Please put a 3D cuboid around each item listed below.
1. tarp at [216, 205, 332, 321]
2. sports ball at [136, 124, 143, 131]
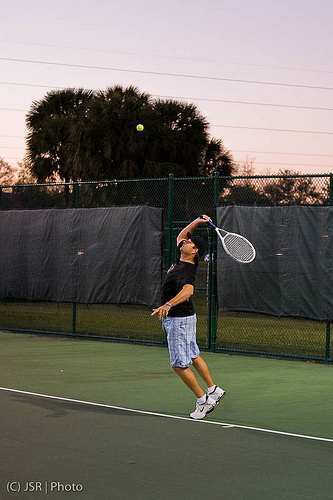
[{"bbox_3d":[2.080,0.200,9.734,2.125,1.954,0.216,0,-2,32],"label":"tarp"},{"bbox_3d":[-1.367,-6.308,26.951,0.327,0.342,0.304,1,2,0],"label":"sports ball"}]
